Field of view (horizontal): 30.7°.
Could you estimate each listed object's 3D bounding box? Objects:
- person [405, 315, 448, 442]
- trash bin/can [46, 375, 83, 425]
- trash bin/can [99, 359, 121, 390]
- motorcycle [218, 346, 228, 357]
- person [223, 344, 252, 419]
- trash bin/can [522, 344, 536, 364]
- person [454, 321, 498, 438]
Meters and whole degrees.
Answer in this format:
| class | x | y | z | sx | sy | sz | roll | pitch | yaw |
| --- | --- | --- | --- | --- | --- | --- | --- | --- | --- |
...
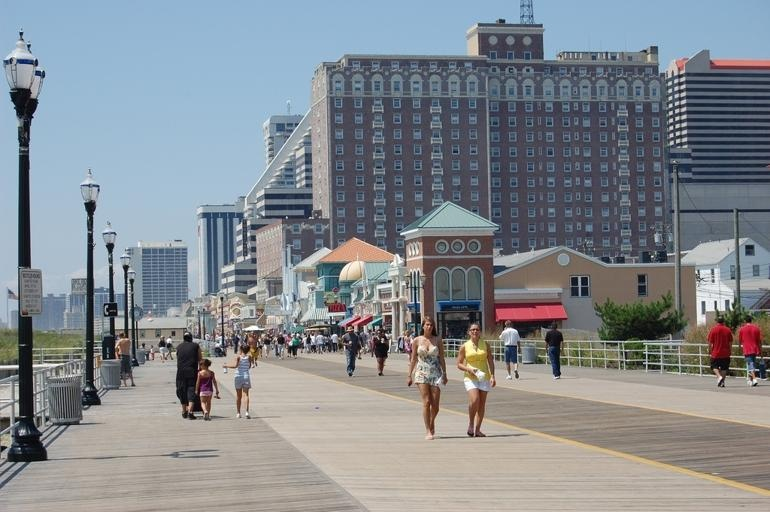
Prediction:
| class | x | y | z | sx | sy | sz | roll | pitch | yaw |
| --- | --- | --- | --- | --- | --- | --- | --- | --- | --- |
| person | 1.258 | 3.430 | 39.309 | 1.110 | 3.350 | 1.196 | -2 | 0 | -8 |
| trash bin/can | -9.809 | 4.457 | 43.098 | 1.274 | 1.675 | 1.280 | -1 | 2 | -33 |
| trash bin/can | -11.083 | 4.780 | 56.377 | 0.758 | 1.181 | 1.022 | 0 | -5 | -14 |
| motorcycle | -11.406 | 6.802 | 98.337 | 0.816 | 0.837 | 0.806 | 2 | -6 | -28 |
| person | -4.471 | 4.073 | 44.646 | 0.953 | 2.645 | 0.994 | 0 | -1 | -36 |
| trash bin/can | 6.799 | 4.708 | 66.784 | 0.751 | 0.804 | 0.774 | 0 | -5 | -6 |
| person | 2.554 | 3.474 | 39.518 | 1.028 | 3.225 | 1.127 | 0 | 0 | -1 |
